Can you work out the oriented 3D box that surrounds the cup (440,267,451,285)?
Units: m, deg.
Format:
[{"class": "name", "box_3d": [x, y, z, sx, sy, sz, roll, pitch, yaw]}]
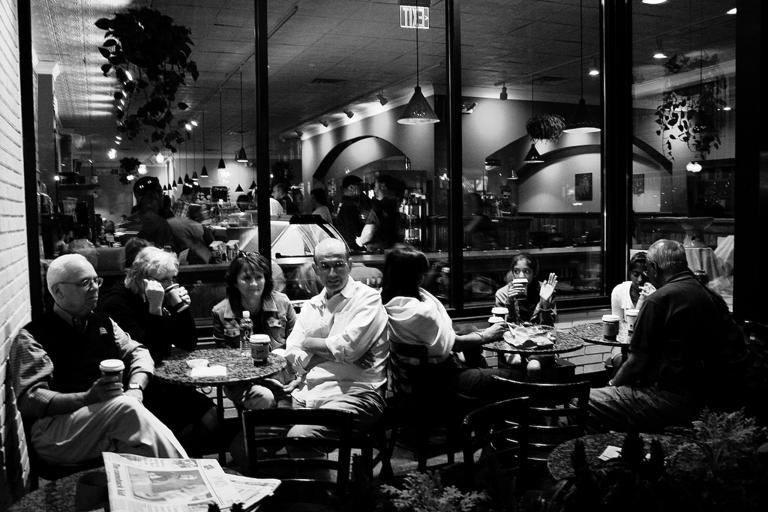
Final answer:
[{"class": "cup", "box_3d": [0.557, 0.182, 5.539, 0.122, 0.212, 0.127, 0, 1, 0]}]

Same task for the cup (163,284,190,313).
[{"class": "cup", "box_3d": [-1.475, 0.309, 4.398, 0.108, 0.170, 0.106, -34, -20, -15]}]

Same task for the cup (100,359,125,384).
[{"class": "cup", "box_3d": [-1.467, 0.612, 3.420, 0.153, 0.156, 0.152, 1, 1, 0]}]

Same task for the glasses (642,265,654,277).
[{"class": "glasses", "box_3d": [1.913, 0.108, 4.543, 0.080, 0.098, 0.091, -2, -9, 1]}]

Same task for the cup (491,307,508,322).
[{"class": "cup", "box_3d": [0.881, 0.449, 4.797, 0.120, 0.126, 0.124, 0, 3, 0]}]

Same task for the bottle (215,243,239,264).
[{"class": "bottle", "box_3d": [-1.312, 0.003, 5.164, 0.215, 0.163, 0.185, 0, -6, -13]}]

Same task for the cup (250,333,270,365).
[{"class": "cup", "box_3d": [-0.789, 0.586, 3.953, 0.184, 0.174, 0.169, -1, -1, 0]}]

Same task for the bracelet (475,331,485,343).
[{"class": "bracelet", "box_3d": [0.718, 0.616, 4.725, 0.032, 0.118, 0.119, -14, 11, 0]}]

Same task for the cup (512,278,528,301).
[{"class": "cup", "box_3d": [1.139, 0.289, 5.181, 0.167, 0.158, 0.164, 0, -2, 0]}]

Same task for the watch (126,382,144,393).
[{"class": "watch", "box_3d": [-1.489, 0.782, 3.721, 0.068, 0.053, 0.069, -39, 30, 4]}]
